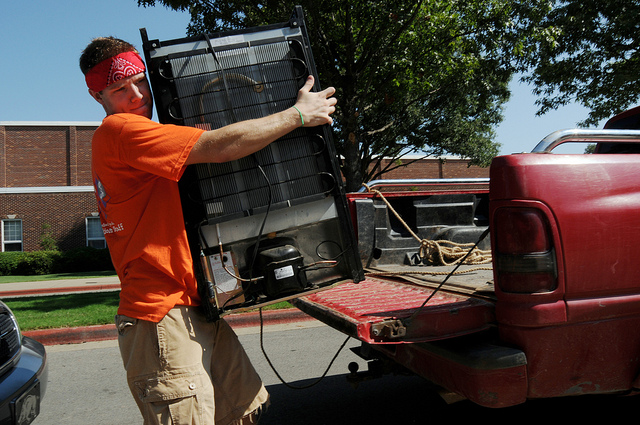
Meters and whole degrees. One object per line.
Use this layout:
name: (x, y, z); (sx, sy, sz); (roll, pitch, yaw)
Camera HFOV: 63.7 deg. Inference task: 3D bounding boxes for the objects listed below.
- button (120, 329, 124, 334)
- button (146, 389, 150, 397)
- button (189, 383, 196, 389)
button: (-1.215, 0.729, 3.168); (0.007, 0.034, 0.052); (-6, 6, -43)
button: (-1.018, 1.067, 3.056); (0.025, 0.039, 0.006); (0, 5, 28)
button: (-0.762, 1.035, 3.079); (0.034, 0.033, 0.013); (2, -12, -11)
